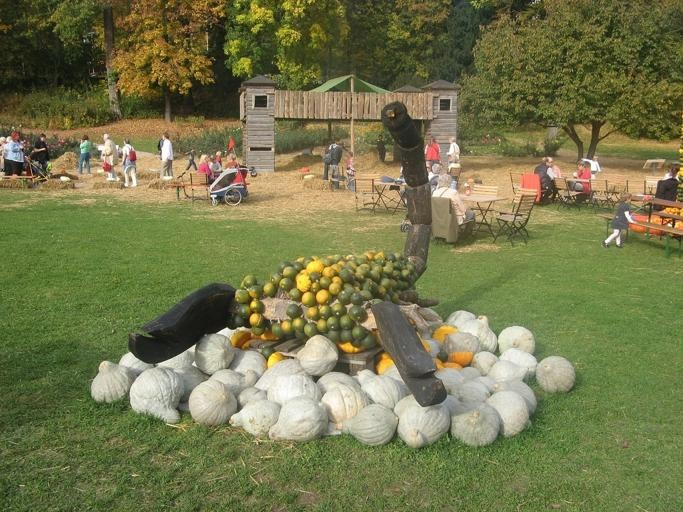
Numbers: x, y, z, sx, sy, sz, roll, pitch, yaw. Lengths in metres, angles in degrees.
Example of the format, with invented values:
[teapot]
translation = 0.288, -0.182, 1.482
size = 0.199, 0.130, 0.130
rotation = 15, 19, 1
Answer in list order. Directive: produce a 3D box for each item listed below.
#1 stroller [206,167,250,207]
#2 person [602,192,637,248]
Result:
[stroller]
translation = -4.423, -2.666, 21.554
size = 1.439, 1.582, 1.225
rotation = 1, 9, -7
[person]
translation = 7.538, -0.962, 15.172
size = 0.717, 1.474, 0.439
rotation = 0, 10, 2
